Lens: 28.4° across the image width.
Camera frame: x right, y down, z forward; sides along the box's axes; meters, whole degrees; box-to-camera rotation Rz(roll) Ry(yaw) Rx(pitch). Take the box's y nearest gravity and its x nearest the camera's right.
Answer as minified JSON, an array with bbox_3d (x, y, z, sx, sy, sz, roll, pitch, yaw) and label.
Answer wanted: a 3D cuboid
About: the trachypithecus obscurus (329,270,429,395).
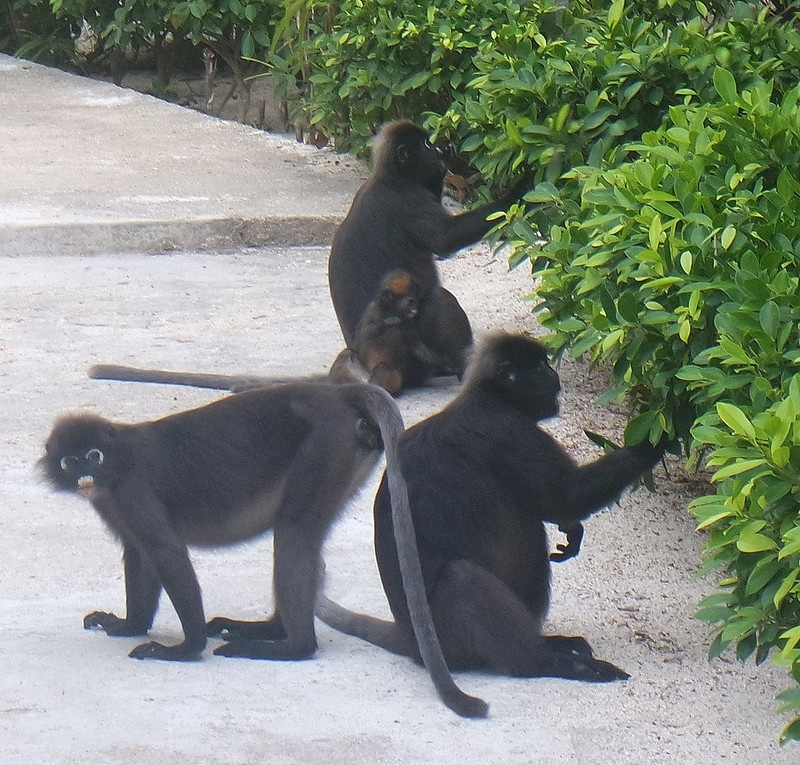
[{"bbox_3d":[-0.006,-0.263,6.609,0.372,0.547,0.482,-8,25,-7],"label":"trachypithecus obscurus"}]

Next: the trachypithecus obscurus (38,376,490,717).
[{"bbox_3d":[-0.349,0.422,4.692,1.539,0.878,0.466,3,7,24],"label":"trachypithecus obscurus"}]
